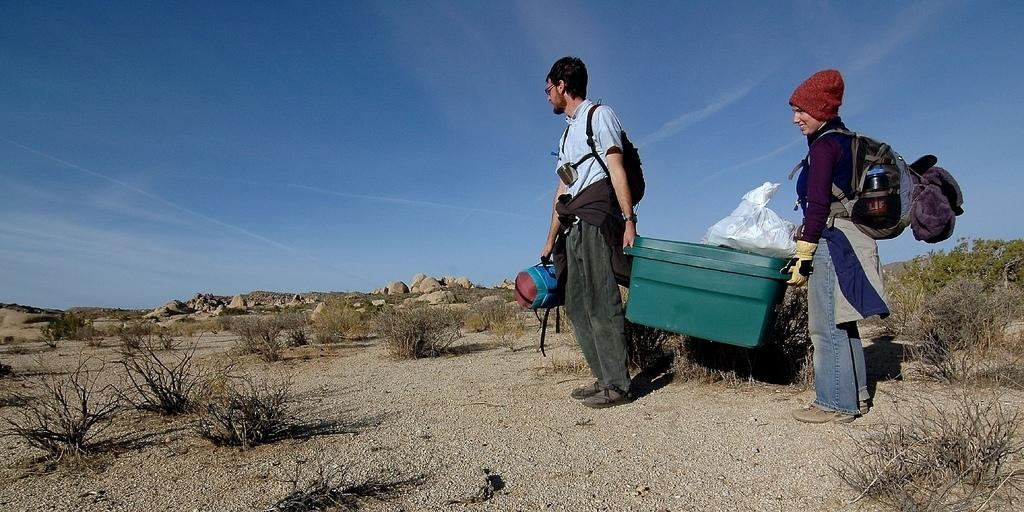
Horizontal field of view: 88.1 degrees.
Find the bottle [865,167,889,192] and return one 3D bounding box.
[{"bbox_3d":[4.901,-1.040,7.181,0.327,0.268,0.312,1,-3,13],"label":"bottle"}]

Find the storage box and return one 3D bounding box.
[{"bbox_3d":[2.777,0.512,7.781,2.672,1.305,1.735,11,-7,17],"label":"storage box"}]

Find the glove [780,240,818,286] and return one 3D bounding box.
[{"bbox_3d":[3.926,0.077,7.179,0.382,0.607,0.226,-2,-5,-14],"label":"glove"}]
